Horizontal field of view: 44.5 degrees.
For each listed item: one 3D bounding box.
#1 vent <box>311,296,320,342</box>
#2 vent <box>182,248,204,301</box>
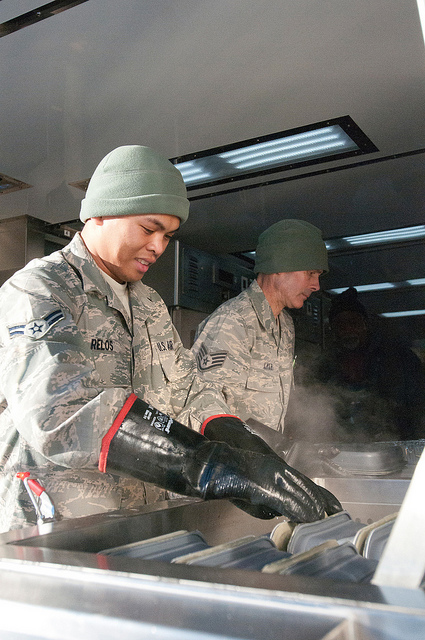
[{"bbox_3d":[0.515,-0.003,2.612,0.047,0.210,0.020,4,2,-28],"label":"vent"},{"bbox_3d":[-0.096,-0.235,2.661,0.068,0.214,0.215,5,2,28],"label":"vent"}]
